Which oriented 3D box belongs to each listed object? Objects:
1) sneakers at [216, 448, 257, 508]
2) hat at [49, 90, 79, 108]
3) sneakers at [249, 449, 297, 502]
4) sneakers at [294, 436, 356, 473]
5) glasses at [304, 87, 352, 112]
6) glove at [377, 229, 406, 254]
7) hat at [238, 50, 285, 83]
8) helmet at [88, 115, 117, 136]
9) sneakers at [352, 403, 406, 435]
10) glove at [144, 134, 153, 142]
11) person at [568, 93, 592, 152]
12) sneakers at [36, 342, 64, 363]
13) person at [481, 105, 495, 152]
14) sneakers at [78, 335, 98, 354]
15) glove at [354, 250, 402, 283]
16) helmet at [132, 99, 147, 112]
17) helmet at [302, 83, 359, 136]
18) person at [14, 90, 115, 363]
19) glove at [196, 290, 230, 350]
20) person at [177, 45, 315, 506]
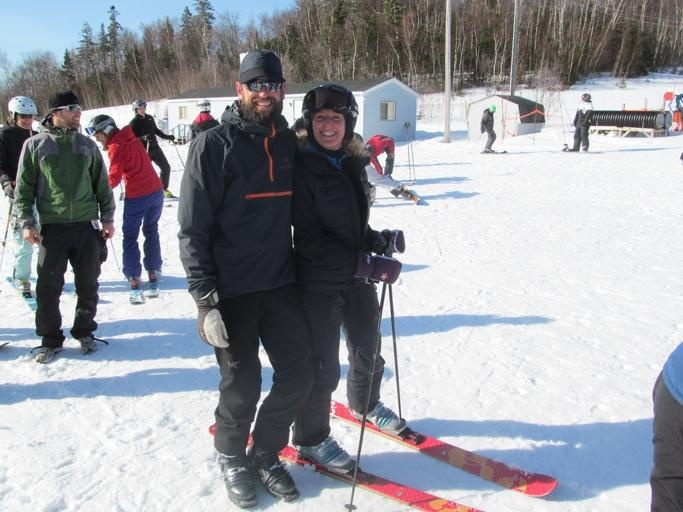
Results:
[{"bbox_3d":[-0.744,1.563,4.163,0.154,0.211,0.486,-5,9,-26],"label":"sneakers"},{"bbox_3d":[-2.556,-1.452,5.385,0.203,0.144,0.215,-8,18,-25],"label":"hat"},{"bbox_3d":[-0.497,1.518,4.255,0.177,0.242,0.517,-12,27,-40],"label":"sneakers"},{"bbox_3d":[-0.105,1.464,4.411,0.451,0.215,0.197,16,13,16],"label":"sneakers"},{"bbox_3d":[-0.096,-1.119,4.087,0.201,0.148,0.237,3,8,-1],"label":"glasses"},{"bbox_3d":[0.387,-0.115,4.510,0.171,0.185,0.158,-2,6,12],"label":"glove"},{"bbox_3d":[-0.562,-1.319,4.038,0.310,0.226,0.200,-9,16,-19],"label":"hat"},{"bbox_3d":[-2.662,-1.413,6.569,0.316,0.293,0.245,1,2,-35],"label":"helmet"},{"bbox_3d":[0.303,1.331,4.688,0.500,0.240,0.166,1,-14,29],"label":"sneakers"},{"bbox_3d":[-3.528,-2.179,10.726,0.036,0.100,0.141,1,1,37],"label":"glove"},{"bbox_3d":[7.170,-4.065,17.581,0.537,1.655,2.878,3,17,22],"label":"person"},{"bbox_3d":[-2.738,0.914,5.537,0.108,0.148,0.291,10,9,37],"label":"sneakers"},{"bbox_3d":[4.581,-4.028,18.413,0.377,1.407,2.490,1,17,14],"label":"person"},{"bbox_3d":[-2.423,0.853,5.608,0.084,0.111,0.237,-13,11,-35],"label":"sneakers"},{"bbox_3d":[0.265,0.084,4.332,0.306,0.203,0.128,10,9,-10],"label":"glove"},{"bbox_3d":[-3.515,-2.653,10.245,0.162,0.213,0.214,-3,-9,-38],"label":"helmet"},{"bbox_3d":[-0.095,-1.003,4.358,0.383,0.494,0.480,1,1,0],"label":"helmet"},{"bbox_3d":[-2.595,-0.298,5.520,0.889,2.419,0.572,-9,16,-23],"label":"person"},{"bbox_3d":[-0.898,0.356,3.950,0.152,0.398,0.140,-6,-7,18],"label":"glove"},{"bbox_3d":[-0.609,0.166,4.036,0.875,3.027,0.703,-12,17,-31],"label":"person"}]
